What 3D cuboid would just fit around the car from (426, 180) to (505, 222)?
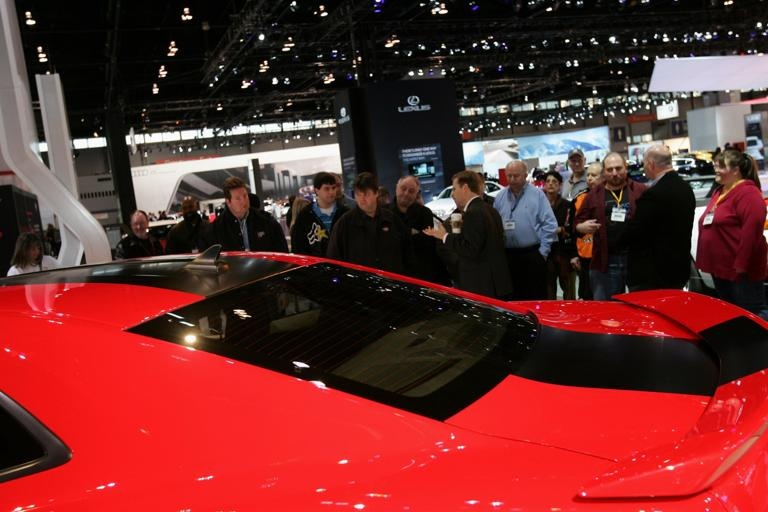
[{"bbox_3d":[2.356,-1.344,13.915,1.308,1.105,3.090,1,7,44],"label":"car"}]
